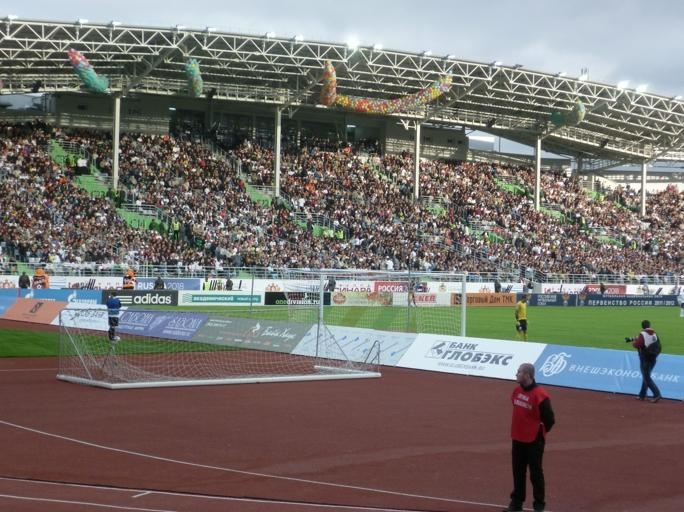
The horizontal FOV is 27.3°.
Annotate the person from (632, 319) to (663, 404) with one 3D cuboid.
[{"bbox_3d":[12.323,4.092,56.592,1.132,3.090,1.335,1,8,-33],"label":"person"}]
